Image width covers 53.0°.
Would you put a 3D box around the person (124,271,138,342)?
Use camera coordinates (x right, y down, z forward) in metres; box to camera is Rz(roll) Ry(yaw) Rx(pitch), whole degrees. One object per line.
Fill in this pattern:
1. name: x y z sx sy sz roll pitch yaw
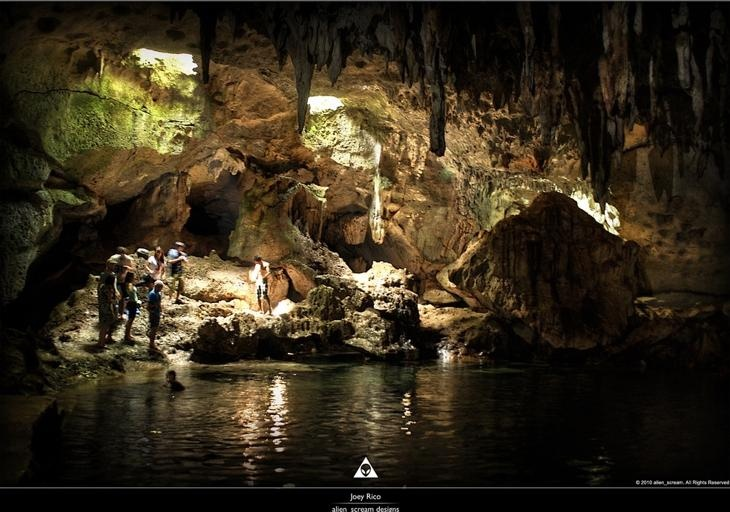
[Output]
1. person: -4.075 0.867 12.710 0.260 1.213 0.691 5 -1 -16

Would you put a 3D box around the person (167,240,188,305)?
1. person: -3.892 0.309 15.005 0.418 1.249 1.080 5 -1 -15

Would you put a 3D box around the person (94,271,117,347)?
1. person: -4.370 0.853 12.337 0.325 1.259 0.732 5 -1 -19
